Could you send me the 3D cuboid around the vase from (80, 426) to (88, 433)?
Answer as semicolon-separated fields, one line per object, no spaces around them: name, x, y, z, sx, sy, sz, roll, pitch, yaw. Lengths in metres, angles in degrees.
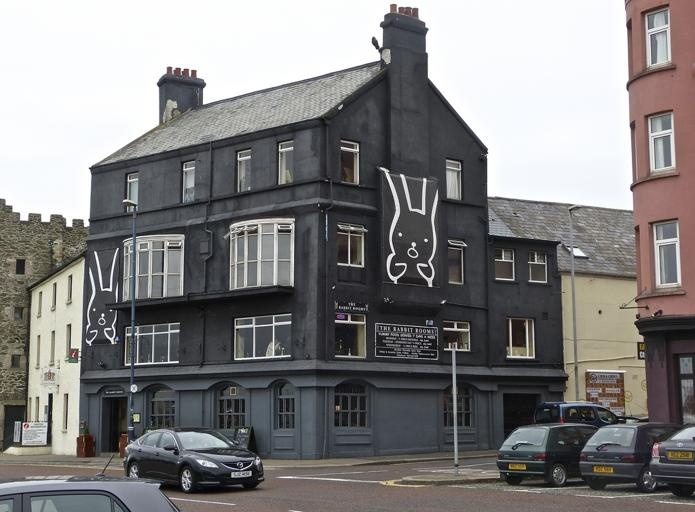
vase;-13.563;8.943;62.084;0.309;0.344;0.305;0;-5;-9

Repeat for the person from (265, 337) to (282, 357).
person;-3.404;4.221;56.084;0.915;0.781;0.256;3;-3;40
